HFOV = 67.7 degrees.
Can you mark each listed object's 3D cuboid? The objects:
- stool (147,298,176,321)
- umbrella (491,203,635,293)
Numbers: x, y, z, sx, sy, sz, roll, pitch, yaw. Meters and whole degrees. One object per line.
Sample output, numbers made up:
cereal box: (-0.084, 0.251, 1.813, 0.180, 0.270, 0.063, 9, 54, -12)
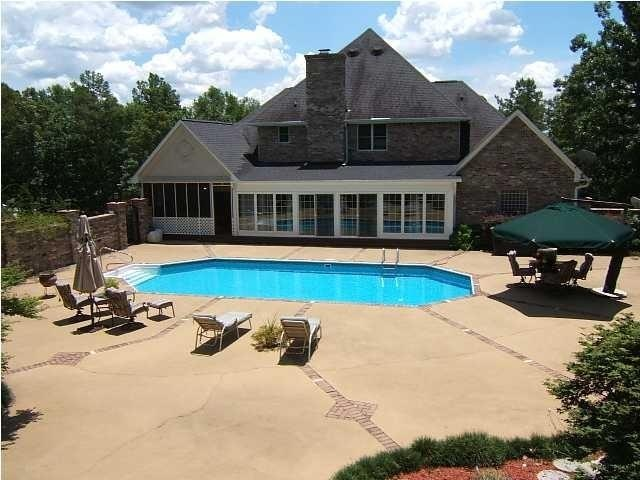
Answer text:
stool: (-5.856, 2.423, 17.559, 0.818, 0.493, 1.105, -10, 13, -40)
umbrella: (9.001, 0.748, 18.533, 4.946, 2.904, 4.538, -14, 17, -33)
